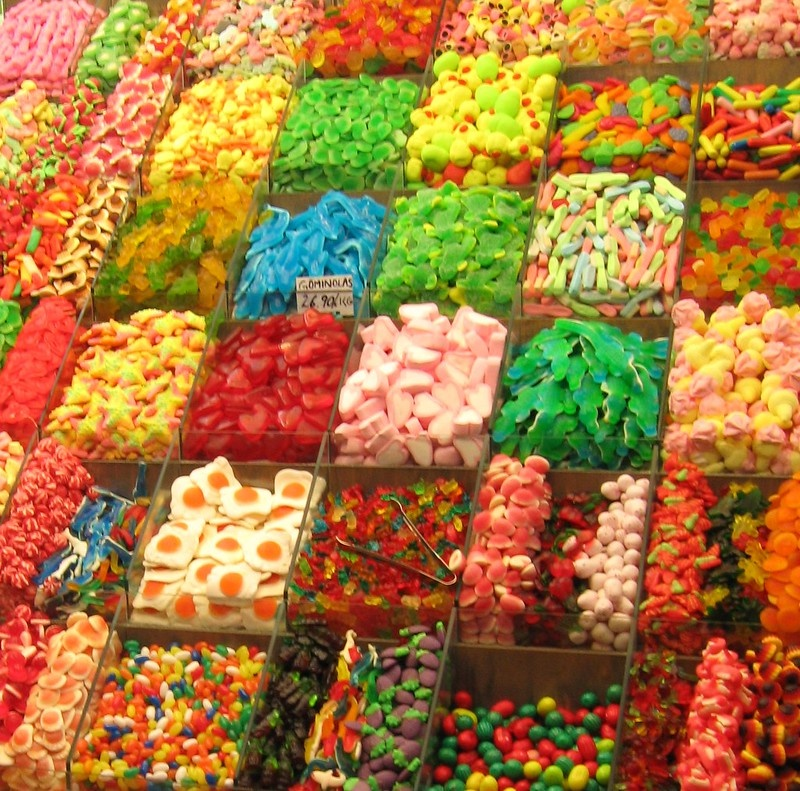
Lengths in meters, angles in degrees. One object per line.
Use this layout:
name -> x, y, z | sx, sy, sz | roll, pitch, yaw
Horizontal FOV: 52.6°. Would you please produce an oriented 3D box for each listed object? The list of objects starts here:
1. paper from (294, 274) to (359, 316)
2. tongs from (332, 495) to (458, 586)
paper -> -0.296, -0.403, 3.189 | 0.220, 0.148, 0.192 | 0, 89, 16
tongs -> 0.025, 0.412, 2.225 | 0.235, 0.046, 0.191 | 30, 63, 28
